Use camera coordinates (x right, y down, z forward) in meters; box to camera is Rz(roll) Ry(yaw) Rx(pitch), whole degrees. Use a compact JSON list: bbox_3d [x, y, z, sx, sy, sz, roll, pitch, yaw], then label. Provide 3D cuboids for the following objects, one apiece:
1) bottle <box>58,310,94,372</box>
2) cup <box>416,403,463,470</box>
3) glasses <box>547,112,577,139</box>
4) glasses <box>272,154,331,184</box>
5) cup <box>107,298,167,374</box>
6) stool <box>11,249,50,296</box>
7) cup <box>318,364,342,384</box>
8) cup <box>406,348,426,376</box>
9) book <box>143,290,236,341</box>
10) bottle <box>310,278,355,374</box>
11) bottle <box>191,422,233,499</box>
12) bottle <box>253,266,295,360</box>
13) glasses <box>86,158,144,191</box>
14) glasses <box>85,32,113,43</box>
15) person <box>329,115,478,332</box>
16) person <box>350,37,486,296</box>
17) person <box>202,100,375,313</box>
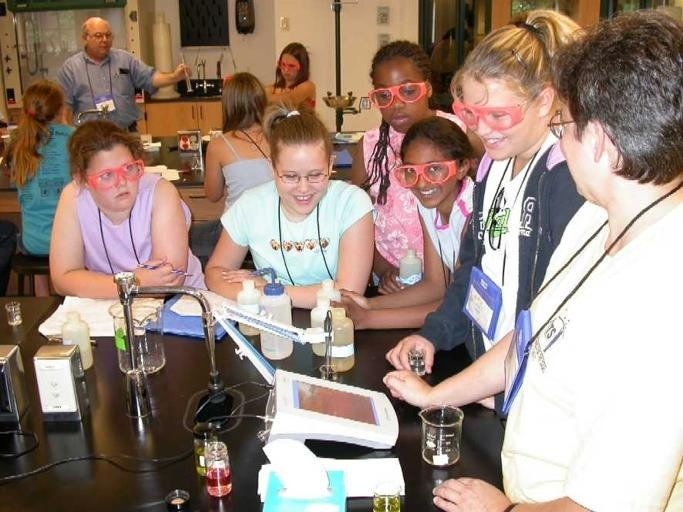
[{"bbox_3d":[-0.825,0.268,1.854,0.087,0.177,0.083,-1,13,0],"label":"bottle"},{"bbox_3d":[0.241,0.448,1.500,0.102,0.120,0.129,-2,13,0],"label":"cup"},{"bbox_3d":[0.449,-0.271,1.224,0.059,0.020,0.061,-7,11,26],"label":"glasses"},{"bbox_3d":[-0.136,-0.318,2.265,0.213,0.080,0.098,-4,13,-11],"label":"glasses"},{"bbox_3d":[-0.611,0.246,1.783,0.185,0.225,0.157,2,20,2],"label":"cup"},{"bbox_3d":[-1.952,0.099,3.751,0.201,0.235,0.208,9,35,-1],"label":"stool"},{"bbox_3d":[-0.029,0.341,1.751,0.042,0.023,0.061,0,12,-4],"label":"cup"},{"bbox_3d":[0.225,0.312,1.774,0.058,0.067,0.061,-4,11,1],"label":"cup"},{"bbox_3d":[-0.551,0.192,2.049,0.165,0.055,0.176,5,25,6],"label":"book"},{"bbox_3d":[-0.028,0.229,1.859,0.072,0.193,0.213,-4,18,-11],"label":"bottle"},{"bbox_3d":[-0.297,0.473,1.377,0.079,0.166,0.162,-2,2,-17],"label":"bottle"},{"bbox_3d":[-0.214,0.178,1.905,0.099,0.306,0.095,-2,16,0],"label":"bottle"},{"bbox_3d":[-0.915,-0.332,2.416,0.221,0.110,0.112,-7,13,-23],"label":"glasses"},{"bbox_3d":[-2.248,-2.048,5.533,0.219,0.086,0.110,-11,16,-35],"label":"glasses"},{"bbox_3d":[0.268,-0.130,2.238,0.403,0.736,0.697,0,3,40],"label":"person"},{"bbox_3d":[0.244,-0.355,2.952,0.442,1.170,0.446,10,24,38],"label":"person"},{"bbox_3d":[-0.211,-0.108,2.375,0.649,0.866,0.509,4,38,0],"label":"person"}]
